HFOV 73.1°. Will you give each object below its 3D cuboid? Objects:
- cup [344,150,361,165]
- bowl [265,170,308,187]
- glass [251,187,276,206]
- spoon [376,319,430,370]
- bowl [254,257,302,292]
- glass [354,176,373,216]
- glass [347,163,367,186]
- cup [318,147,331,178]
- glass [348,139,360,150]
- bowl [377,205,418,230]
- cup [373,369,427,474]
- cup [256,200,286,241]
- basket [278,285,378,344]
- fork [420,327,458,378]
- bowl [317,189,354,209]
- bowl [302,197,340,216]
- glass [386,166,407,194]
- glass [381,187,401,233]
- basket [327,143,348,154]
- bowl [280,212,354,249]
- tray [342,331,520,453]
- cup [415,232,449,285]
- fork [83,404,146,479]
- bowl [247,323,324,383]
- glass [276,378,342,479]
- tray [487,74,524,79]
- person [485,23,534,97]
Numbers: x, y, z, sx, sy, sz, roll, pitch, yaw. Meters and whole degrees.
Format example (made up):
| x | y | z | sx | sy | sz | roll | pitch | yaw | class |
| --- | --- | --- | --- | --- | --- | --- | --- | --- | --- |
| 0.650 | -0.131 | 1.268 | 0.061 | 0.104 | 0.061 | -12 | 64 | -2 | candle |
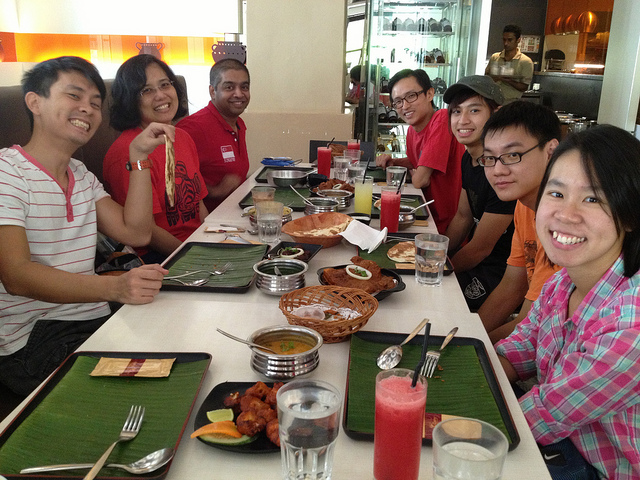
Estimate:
| x | y | z | sx | sy | sz | roll | pitch | yaw | class |
| --- | --- | --- | --- | --- | --- | --- | --- | --- | --- |
| 0.259 | -0.668 | 3.471 | 0.158 | 0.161 | 0.104 | 1 | 10 | 1 | cup |
| -0.236 | -0.434 | 3.061 | 0.267 | 0.090 | 0.334 | -11 | 21 | -23 | bowl |
| -0.280 | -0.233 | 2.246 | 0.127 | 0.097 | 0.115 | -1 | 5 | -35 | glass |
| 0.229 | 0.272 | 1.250 | 0.050 | 0.030 | 0.255 | 14 | 36 | 28 | spoon |
| -0.151 | 0.115 | 1.585 | 0.133 | 0.058 | 0.135 | 1 | 22 | 0 | bowl |
| 0.247 | -0.250 | 2.455 | 0.094 | 0.205 | 0.186 | 1 | 19 | 9 | glass |
| 0.241 | -0.472 | 3.029 | 0.174 | 0.198 | 0.181 | 1 | 11 | 0 | glass |
| 0.035 | -0.616 | 3.406 | 0.161 | 0.203 | 0.160 | 3 | 22 | -1 | cup |
| 0.293 | -0.818 | 3.705 | 0.102 | 0.102 | 0.102 | 0 | 10 | 0 | glass |
| 0.460 | -0.126 | 2.338 | 0.165 | 0.107 | 0.166 | 0 | 12 | 0 | bowl |
| 0.159 | 0.363 | 0.873 | 0.100 | 0.192 | 0.162 | 0 | 19 | 9 | cup |
| -0.240 | -0.076 | 2.050 | 0.144 | 0.173 | 0.150 | -1 | -1 | 0 | cup |
| -0.004 | 0.224 | 1.302 | 0.290 | 0.105 | 0.292 | 4 | 13 | -2 | basket |
| 0.341 | 0.285 | 1.221 | 0.047 | 0.029 | 0.354 | 19 | 29 | 17 | fork |
| 0.118 | -0.266 | 2.651 | 0.145 | 0.059 | 0.149 | 3 | 11 | -1 | bowl |
| 0.004 | -0.195 | 2.411 | 0.123 | 0.048 | 0.125 | -1 | 15 | 0 | bowl |
| 0.520 | -0.416 | 3.016 | 0.185 | 0.212 | 0.190 | -3 | 8 | -12 | glass |
| 0.358 | -0.147 | 2.196 | 0.091 | 0.210 | 0.159 | 0 | 19 | 8 | glass |
| 0.146 | -0.836 | 3.963 | 0.106 | 0.050 | 0.135 | 5 | 7 | -25 | basket |
| 0.004 | -0.075 | 2.034 | 0.232 | 0.061 | 0.215 | -3 | 19 | 1 | bowl |
| 0.294 | 0.358 | 1.123 | 0.349 | 0.050 | 0.464 | 5 | 18 | 17 | tray |
| 0.445 | 0.088 | 1.729 | 0.133 | 0.202 | 0.134 | 3 | 5 | 0 | cup |
| -0.422 | 0.419 | 0.899 | 0.020 | 0.021 | 0.153 | 5 | 30 | 14 | fork |
| -0.101 | 0.296 | 1.149 | 0.151 | 0.065 | 0.152 | 2 | 21 | -1 | bowl |
| -0.015 | 0.379 | 0.834 | 0.121 | 0.202 | 0.090 | -4 | 19 | -3 | glass |
| 3.139 | -2.792 | 7.359 | 0.564 | 0.095 | 0.214 | 14 | 25 | 39 | tray |
| 3.208 | -2.975 | 7.422 | 0.787 | 1.353 | 0.704 | 21 | 37 | 35 | person |
